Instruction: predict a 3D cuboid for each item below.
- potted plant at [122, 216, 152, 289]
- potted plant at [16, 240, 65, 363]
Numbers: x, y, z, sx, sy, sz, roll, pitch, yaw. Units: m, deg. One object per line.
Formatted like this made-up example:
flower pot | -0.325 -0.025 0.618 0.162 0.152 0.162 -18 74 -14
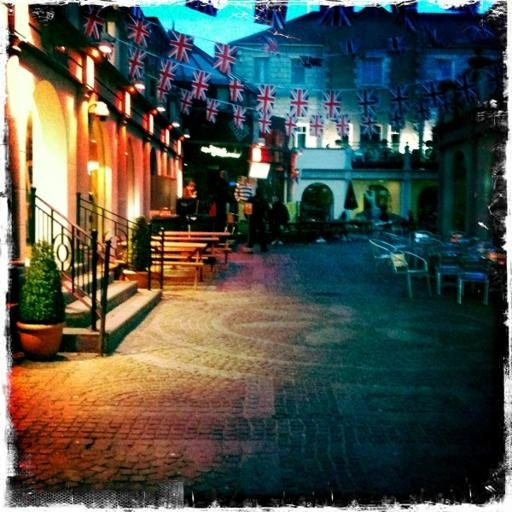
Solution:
potted plant | -2.272 -0.058 11.405 0.524 1.397 0.621 0 6 -12
potted plant | -2.448 0.498 6.761 0.512 1.331 0.418 -1 7 -19
